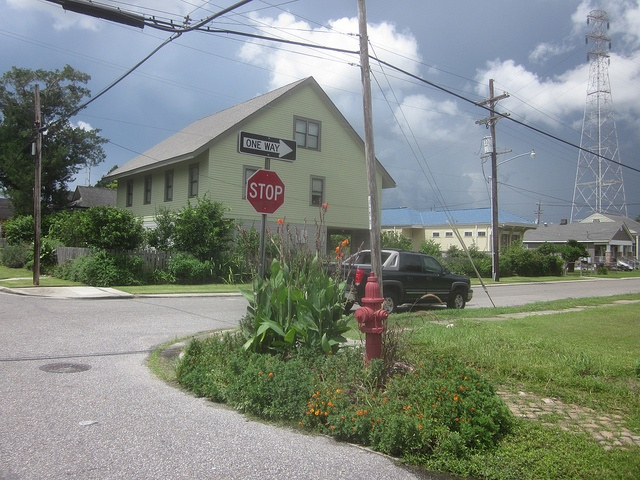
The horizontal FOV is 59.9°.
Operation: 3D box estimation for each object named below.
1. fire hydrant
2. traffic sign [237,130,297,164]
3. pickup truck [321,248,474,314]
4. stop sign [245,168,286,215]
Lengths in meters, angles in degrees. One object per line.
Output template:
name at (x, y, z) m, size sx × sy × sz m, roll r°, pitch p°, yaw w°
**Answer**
fire hydrant at (0.738, 1.160, 8.125) m, size 0.455 × 1.284 × 0.519 m, roll 0°, pitch -3°, yaw 9°
traffic sign at (-0.841, -1.518, 9.100) m, size 1.077 × 0.422 × 0.278 m, roll 3°, pitch -4°, yaw -31°
pickup truck at (2.293, 1.151, 15.808) m, size 1.691 × 1.786 × 6.127 m, roll -2°, pitch -5°, yaw 39°
stop sign at (-0.884, -0.779, 9.050) m, size 0.639 × 0.768 × 0.386 m, roll 2°, pitch -3°, yaw -22°
